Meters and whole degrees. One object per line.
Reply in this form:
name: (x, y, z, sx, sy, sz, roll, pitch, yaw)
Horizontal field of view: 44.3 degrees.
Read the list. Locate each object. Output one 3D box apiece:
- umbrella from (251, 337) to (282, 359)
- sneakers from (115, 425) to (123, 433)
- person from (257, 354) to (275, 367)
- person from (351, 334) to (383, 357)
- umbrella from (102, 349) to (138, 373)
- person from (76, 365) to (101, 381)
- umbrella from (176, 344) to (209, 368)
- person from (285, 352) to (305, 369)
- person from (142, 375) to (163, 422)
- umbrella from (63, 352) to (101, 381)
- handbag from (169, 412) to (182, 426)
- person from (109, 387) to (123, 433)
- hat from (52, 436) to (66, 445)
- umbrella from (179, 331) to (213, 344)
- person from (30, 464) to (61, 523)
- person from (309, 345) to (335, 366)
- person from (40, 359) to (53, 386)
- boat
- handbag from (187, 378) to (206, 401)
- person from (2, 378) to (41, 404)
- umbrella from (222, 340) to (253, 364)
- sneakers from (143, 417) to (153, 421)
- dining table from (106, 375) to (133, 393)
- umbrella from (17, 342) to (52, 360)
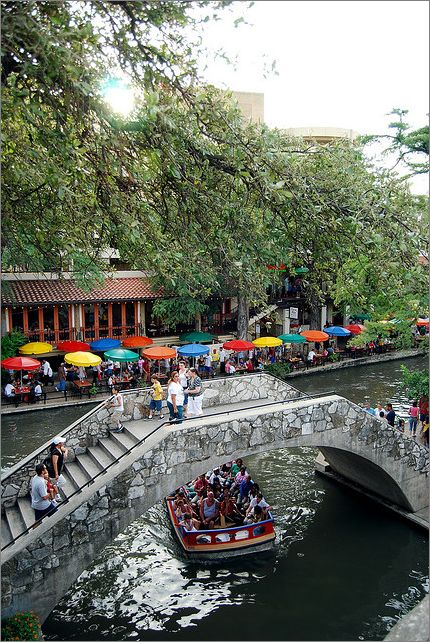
umbrella: (2.950, 1.240, 30.028, 1.638, 0.470, 1.059, 1, 10, -1)
sneakers: (-2.326, 2.618, 12.804, 0.095, 0.117, 0.261, -5, 6, 27)
person: (3.063, 2.350, 31.513, 0.868, 0.452, 0.635, -7, 9, -8)
person: (8.773, 1.452, 30.492, 1.575, 0.819, 1.533, -2, 0, -34)
umbrella: (-4.993, 2.087, 27.314, 1.359, 0.454, 1.382, 4, 1, 13)
person: (-6.632, 2.731, 27.273, 0.973, 1.025, 0.943, -7, 10, -35)
umbrella: (-1.141, 1.549, 26.559, 1.050, 0.569, 1.413, 9, 13, 39)
person: (4.916, 2.508, 32.057, 0.831, 0.419, 1.354, -7, 15, -10)
person: (-1.531, 1.867, 13.396, 0.407, 1.353, 1.478, -1, 10, -7)
umbrella: (-6.239, 2.043, 24.311, 1.029, 1.028, 0.968, 11, 16, -21)
handbag: (-0.856, 2.130, 11.487, 0.137, 0.296, 0.423, 3, 16, 8)
person: (-2.438, 2.137, 12.835, 0.326, 1.056, 0.586, -2, 11, -12)
hat: (-3.189, 2.493, 10.839, 0.168, 0.079, 0.246, 6, 10, 40)
umbrella: (-1.197, 1.115, 32.273, 2.074, 0.911, 2.515, 0, 10, -2)
person: (-3.209, 3.297, 9.794, 0.414, 1.267, 1.386, -3, 11, -18)
person: (6.556, 2.241, 33.683, 2.631, 1.038, 0.766, -10, 12, -44)
person: (-8.794, 2.689, 27.365, 0.505, 1.488, 2.194, -3, 11, -17)
boat: (0.016, 4.976, 13.866, 2.493, 1.560, 2.588, -5, 12, -31)
handbag: (-0.503, 1.641, 12.685, 0.319, 0.610, 0.528, 0, 11, -3)
person: (-8.828, 3.273, 24.034, 0.949, 0.465, 1.547, -3, 12, -23)
umbrella: (1.318, 1.450, 28.913, 1.742, 0.537, 1.031, -6, 12, -36)
sneakers: (-1.734, 2.481, 13.494, 0.227, 0.074, 0.226, 2, 10, 7)
dining table: (-4.342, 2.851, 23.852, 1.307, 0.649, 1.277, -2, 20, -15)
umbrella: (-8.869, 1.346, 25.729, 1.484, 0.424, 0.934, -4, 11, -26)
